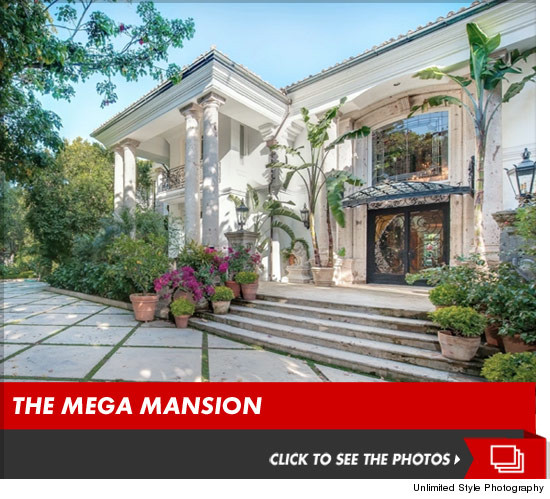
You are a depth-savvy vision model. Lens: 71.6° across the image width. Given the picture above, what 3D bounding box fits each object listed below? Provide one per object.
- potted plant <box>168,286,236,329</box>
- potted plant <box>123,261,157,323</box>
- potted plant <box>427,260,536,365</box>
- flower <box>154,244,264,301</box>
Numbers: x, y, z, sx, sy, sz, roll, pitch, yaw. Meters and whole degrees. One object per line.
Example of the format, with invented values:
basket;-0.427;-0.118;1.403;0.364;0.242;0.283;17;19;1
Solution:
potted plant;-1.352;0.970;6.805;1.098;0.637;0.667;1;-3;-26
potted plant;-2.651;0.781;7.455;0.576;0.980;1.782;1;-3;-21
potted plant;2.462;0.660;4.688;1.072;1.165;1.357;-1;-3;9
flower;-1.414;0.361;7.438;1.513;0.767;1.239;-7;20;-31
